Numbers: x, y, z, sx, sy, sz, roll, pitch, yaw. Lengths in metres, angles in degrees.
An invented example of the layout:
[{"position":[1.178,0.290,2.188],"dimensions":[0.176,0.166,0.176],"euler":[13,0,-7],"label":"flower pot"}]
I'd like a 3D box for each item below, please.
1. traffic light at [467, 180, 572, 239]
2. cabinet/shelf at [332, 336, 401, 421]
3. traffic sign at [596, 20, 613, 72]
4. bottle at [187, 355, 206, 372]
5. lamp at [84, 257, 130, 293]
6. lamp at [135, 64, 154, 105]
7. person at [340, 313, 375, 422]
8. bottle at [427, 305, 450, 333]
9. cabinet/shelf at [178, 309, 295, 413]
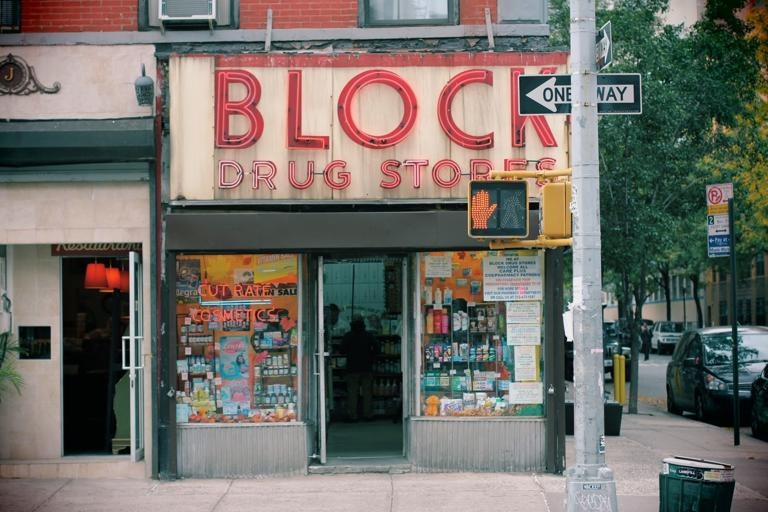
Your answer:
[{"position":[2.342,-0.799,21.653],"dimensions":[1.727,1.050,0.458],"euler":[3,9,12],"label":"traffic light"},{"position":[-0.364,2.709,27.199],"dimensions":[1.590,1.732,0.551],"euler":[-1,-5,-1],"label":"cabinet/shelf"},{"position":[3.689,-3.516,20.979],"dimensions":[0.255,0.812,0.525],"euler":[3,9,10],"label":"traffic sign"},{"position":[-3.533,2.052,23.829],"dimensions":[0.342,0.371,0.263],"euler":[1,3,-1],"label":"bottle"},{"position":[-5.511,0.414,24.967],"dimensions":[0.857,0.647,0.398],"euler":[-1,9,-16],"label":"lamp"},{"position":[-4.514,-3.233,23.769],"dimensions":[0.365,0.792,0.454],"euler":[-1,9,-11],"label":"lamp"},{"position":[-0.537,2.401,26.995],"dimensions":[0.691,2.282,0.468],"euler":[1,9,-1],"label":"person"},{"position":[1.065,1.226,24.168],"dimensions":[0.416,0.454,0.442],"euler":[0,0,0],"label":"bottle"},{"position":[-2.855,2.078,23.845],"dimensions":[1.730,1.877,0.647],"euler":[0,-1,-1],"label":"cabinet/shelf"}]
